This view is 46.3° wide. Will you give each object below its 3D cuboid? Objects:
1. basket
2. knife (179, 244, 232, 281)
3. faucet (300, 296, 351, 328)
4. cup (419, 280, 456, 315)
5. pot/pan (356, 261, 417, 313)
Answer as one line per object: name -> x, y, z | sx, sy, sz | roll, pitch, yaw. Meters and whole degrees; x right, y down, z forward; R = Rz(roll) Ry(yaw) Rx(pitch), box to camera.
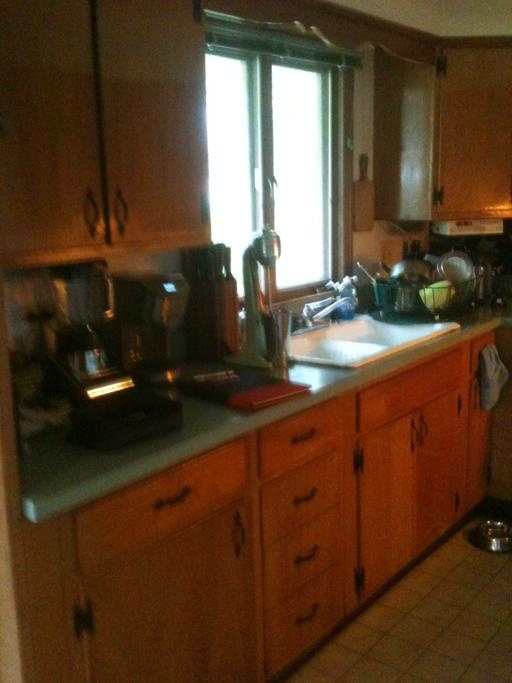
basket -> 0.754, -0.211, 2.679 | 0.313, 0.113, 0.225 | -13, 18, -40
knife -> -0.156, -0.259, 1.874 | 0.117, 0.123, 0.031 | -3, 37, 8
faucet -> 0.303, -0.137, 2.447 | 0.198, 0.085, 0.110 | -26, 15, -22
cup -> 0.800, -0.188, 2.644 | 0.181, 0.145, 0.082 | -6, 9, -32
pot/pan -> 0.590, -0.244, 2.692 | 0.182, 0.213, 0.271 | -21, 27, -39
